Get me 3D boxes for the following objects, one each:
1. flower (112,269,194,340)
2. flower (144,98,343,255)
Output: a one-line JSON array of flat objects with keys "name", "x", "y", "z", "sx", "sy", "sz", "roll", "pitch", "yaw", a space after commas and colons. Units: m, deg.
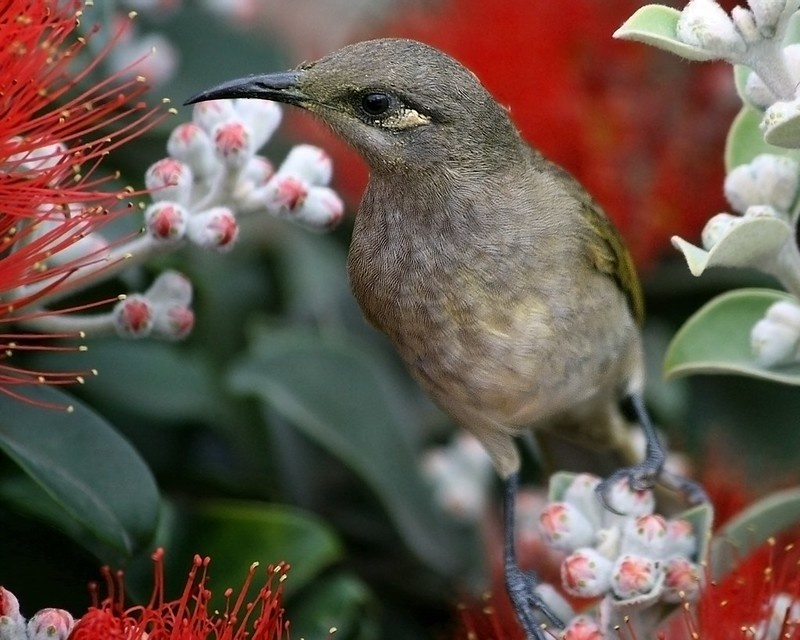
[{"name": "flower", "x": -0.311, "y": -0.010, "z": 1.412, "sx": 0.087, "sy": 0.041, "sz": 0.090, "roll": 22, "pitch": 33, "yaw": 5}, {"name": "flower", "x": -0.213, "y": -0.174, "z": 1.416, "sx": 0.216, "sy": 0.088, "sz": 0.221, "roll": 16, "pitch": 52, "yaw": -18}]
